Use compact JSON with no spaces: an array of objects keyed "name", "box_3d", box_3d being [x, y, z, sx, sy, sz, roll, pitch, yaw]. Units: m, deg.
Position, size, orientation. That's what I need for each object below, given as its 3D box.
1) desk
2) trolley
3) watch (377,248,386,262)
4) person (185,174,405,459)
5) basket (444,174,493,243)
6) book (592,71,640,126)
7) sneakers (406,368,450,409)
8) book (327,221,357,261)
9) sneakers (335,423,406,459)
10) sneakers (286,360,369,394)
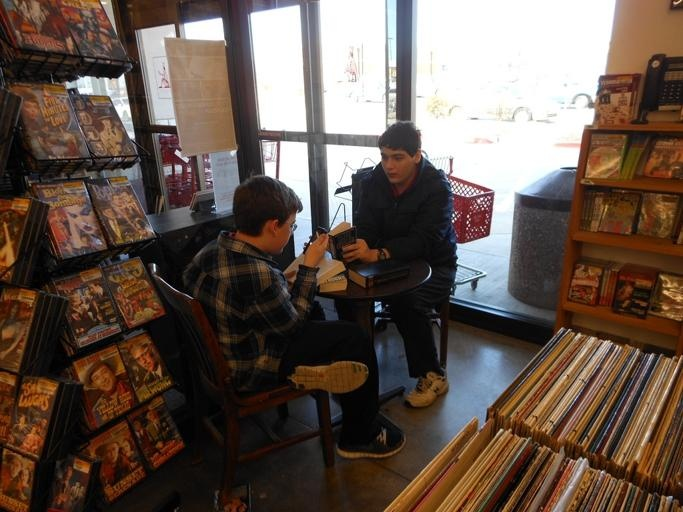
[{"name":"desk","box_3d":[0.227,0.281,2.587,0.444,0.499,0.468,-1,28,30]},{"name":"trolley","box_3d":[0.788,-0.199,3.655,0.676,0.999,0.507,-3,9,-32]},{"name":"watch","box_3d":[0.219,-0.005,2.685,0.049,0.049,0.087,2,27,-7]},{"name":"person","box_3d":[-0.204,0.362,2.225,0.903,1.415,0.398,-10,20,-18]},{"name":"basket","box_3d":[0.924,-0.345,3.634,0.339,0.387,0.524,-9,17,-28]},{"name":"book","box_3d":[1.505,-0.852,2.659,0.247,0.351,0.190,8,27,22]},{"name":"sneakers","box_3d":[0.500,0.753,2.864,0.121,0.147,0.311,12,18,42]},{"name":"book","box_3d":[0.006,-0.071,2.584,0.170,0.167,0.100,-27,32,-34]},{"name":"sneakers","box_3d":[0.153,0.946,2.510,0.369,0.175,0.149,-6,29,-7]},{"name":"sneakers","box_3d":[-0.064,0.521,2.159,0.354,0.149,0.139,3,-6,-14]}]
